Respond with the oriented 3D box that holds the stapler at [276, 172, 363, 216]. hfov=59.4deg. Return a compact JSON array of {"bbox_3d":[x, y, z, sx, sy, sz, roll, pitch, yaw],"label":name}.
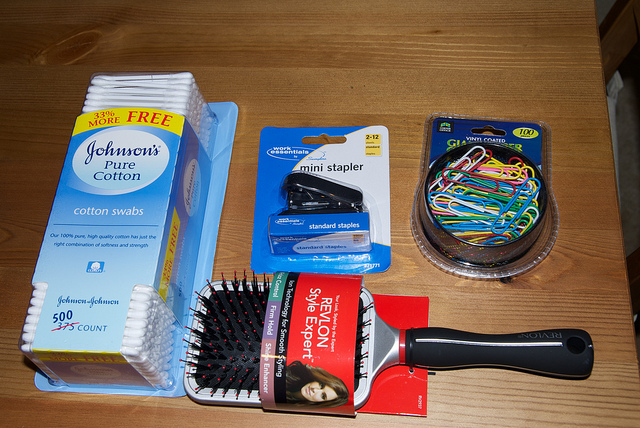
[{"bbox_3d":[0.012,-0.044,1.144,0.223,0.068,0.091,0,95,37],"label":"stapler"}]
